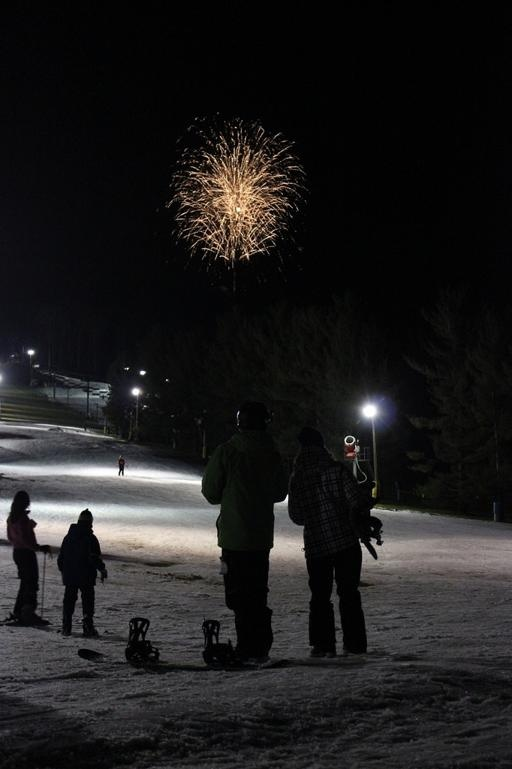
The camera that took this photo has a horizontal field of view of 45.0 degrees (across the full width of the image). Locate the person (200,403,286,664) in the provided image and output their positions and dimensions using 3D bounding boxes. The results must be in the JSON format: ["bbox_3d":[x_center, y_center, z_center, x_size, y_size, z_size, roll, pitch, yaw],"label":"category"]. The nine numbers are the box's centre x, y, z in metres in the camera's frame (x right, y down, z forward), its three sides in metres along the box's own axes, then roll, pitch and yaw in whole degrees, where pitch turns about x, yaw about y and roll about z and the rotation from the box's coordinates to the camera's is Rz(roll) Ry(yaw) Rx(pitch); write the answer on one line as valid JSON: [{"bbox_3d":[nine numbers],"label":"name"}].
[{"bbox_3d":[-0.088,1.078,4.496,0.606,1.877,0.265,3,-3,-11],"label":"person"}]

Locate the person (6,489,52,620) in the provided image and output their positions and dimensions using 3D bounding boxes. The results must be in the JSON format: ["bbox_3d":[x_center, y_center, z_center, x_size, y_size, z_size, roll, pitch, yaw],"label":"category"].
[{"bbox_3d":[-3.091,2.382,8.362,0.552,1.815,1.165,3,-3,-22],"label":"person"}]

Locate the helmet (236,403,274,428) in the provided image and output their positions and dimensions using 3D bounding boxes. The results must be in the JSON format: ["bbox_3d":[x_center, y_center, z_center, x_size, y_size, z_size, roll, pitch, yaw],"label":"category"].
[{"bbox_3d":[-0.008,0.211,4.632,0.204,0.249,0.161,-11,14,-33],"label":"helmet"}]

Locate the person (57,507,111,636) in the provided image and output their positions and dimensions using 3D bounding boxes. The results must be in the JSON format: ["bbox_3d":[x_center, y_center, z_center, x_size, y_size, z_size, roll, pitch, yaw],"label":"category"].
[{"bbox_3d":[-2.166,2.361,7.693,0.568,1.588,1.148,3,-3,-17],"label":"person"}]

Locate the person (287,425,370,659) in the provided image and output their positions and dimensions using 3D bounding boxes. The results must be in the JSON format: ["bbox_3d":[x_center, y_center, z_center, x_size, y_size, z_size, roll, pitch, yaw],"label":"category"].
[{"bbox_3d":[0.601,1.247,5.106,0.510,1.982,0.528,-6,13,6],"label":"person"}]
